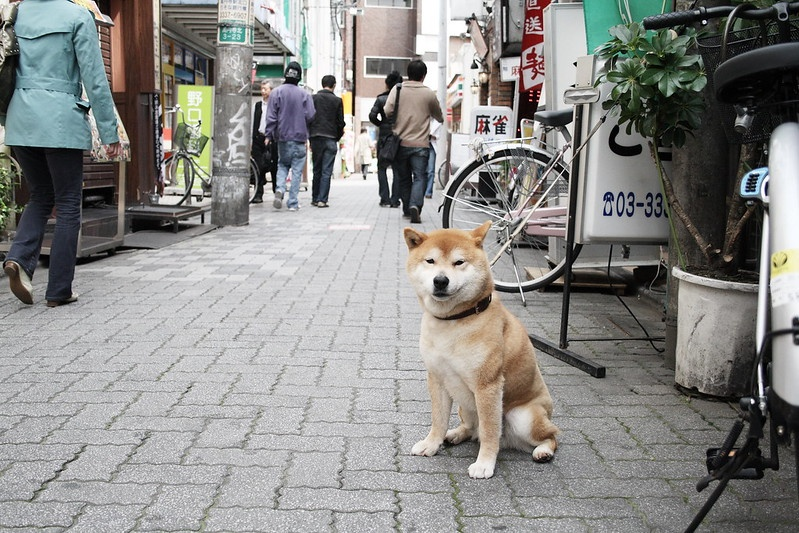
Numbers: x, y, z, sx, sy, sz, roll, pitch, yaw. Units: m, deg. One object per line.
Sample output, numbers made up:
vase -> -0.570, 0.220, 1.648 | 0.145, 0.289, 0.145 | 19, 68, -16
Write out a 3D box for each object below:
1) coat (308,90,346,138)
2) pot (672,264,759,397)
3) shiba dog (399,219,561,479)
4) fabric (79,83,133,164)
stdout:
coat -> -1.513, -3.263, 14.978 | 1.100, 1.239, 0.857 | 1, 9, 5
pot -> 1.944, 0.401, 4.550 | 0.670, 0.744, 0.692 | 3, 8, 0
shiba dog -> 0.441, 0.439, 3.572 | 0.847, 1.221, 0.483 | 1, 13, 0
fabric -> -2.946, -1.270, 6.955 | 0.592, 1.106, 0.288 | -3, -3, -25
